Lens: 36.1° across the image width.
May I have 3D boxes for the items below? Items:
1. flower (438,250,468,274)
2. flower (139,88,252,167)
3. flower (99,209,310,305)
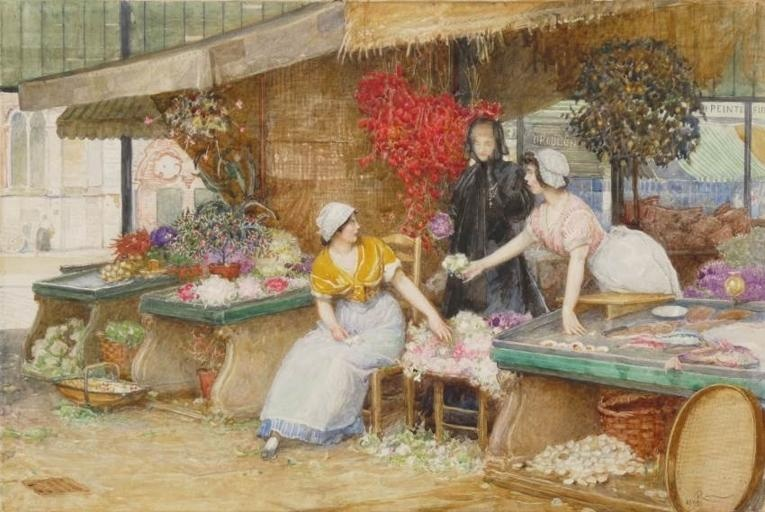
[{"bbox_3d":[0.648,0.067,10.440,0.177,0.197,0.071,0,-11,18],"label":"flower"},{"bbox_3d":[-1.679,-1.183,10.579,0.767,0.775,0.294,-14,7,8],"label":"flower"},{"bbox_3d":[-1.507,0.034,10.565,1.330,0.466,1.017,-10,19,-37],"label":"flower"}]
